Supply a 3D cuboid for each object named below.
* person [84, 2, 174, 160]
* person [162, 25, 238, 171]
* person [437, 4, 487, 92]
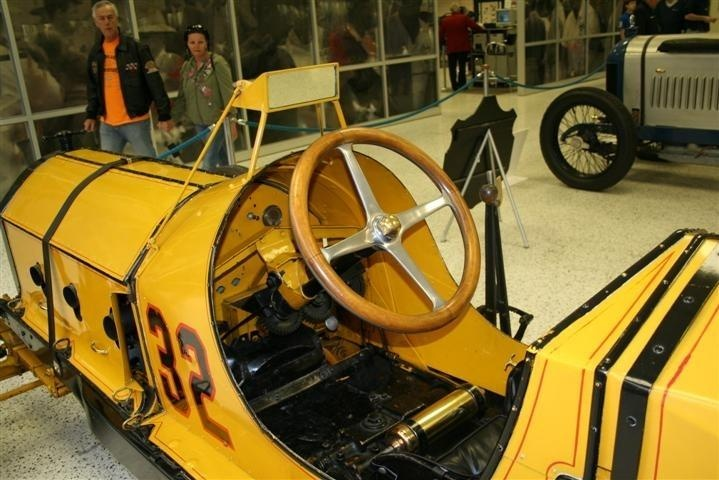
[{"bbox_3d":[-2.054,-1.351,4.999,0.702,1.338,0.477,-10,23,-18],"label":"person"},{"bbox_3d":[-1.429,-1.288,5.231,0.552,1.233,2.497,-9,24,-16],"label":"person"},{"bbox_3d":[2.116,-4.042,12.145,0.853,1.673,1.379,2,23,11],"label":"person"}]
